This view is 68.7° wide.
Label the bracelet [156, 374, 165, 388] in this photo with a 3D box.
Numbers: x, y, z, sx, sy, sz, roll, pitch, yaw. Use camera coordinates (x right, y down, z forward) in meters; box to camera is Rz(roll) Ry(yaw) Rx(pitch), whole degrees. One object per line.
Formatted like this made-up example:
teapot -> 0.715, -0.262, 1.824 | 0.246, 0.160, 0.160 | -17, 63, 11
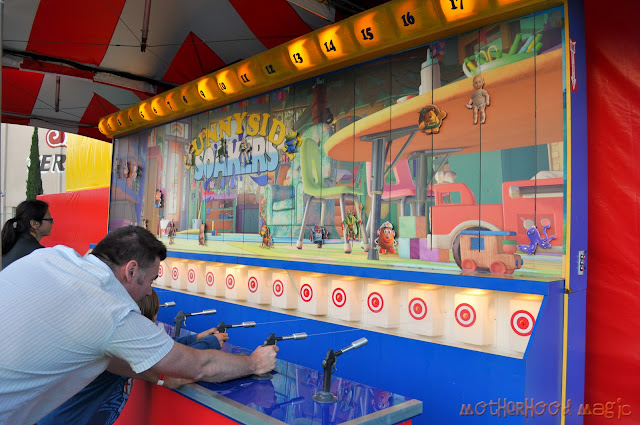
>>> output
bracelet -> -0.832, 0.879, 2.454 | 0.039, 0.052, 0.054 | 22, 15, -2
